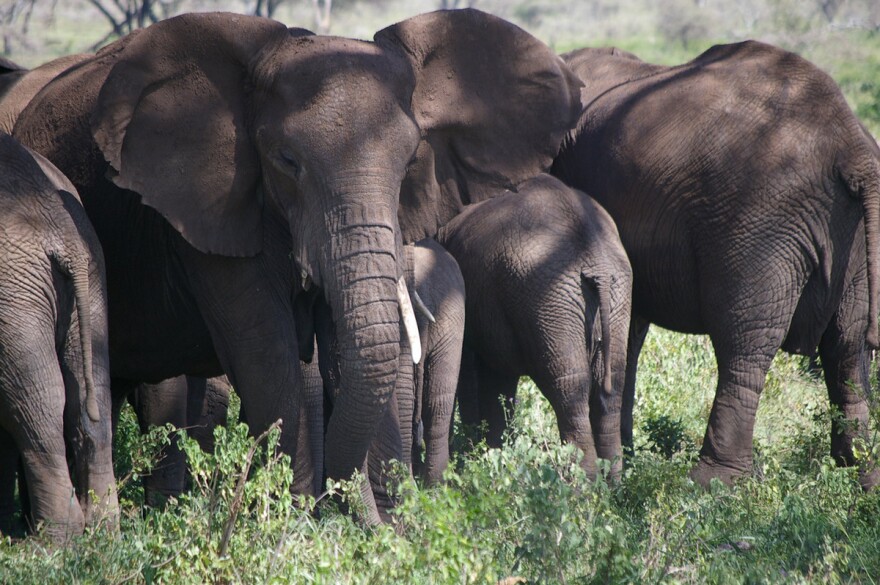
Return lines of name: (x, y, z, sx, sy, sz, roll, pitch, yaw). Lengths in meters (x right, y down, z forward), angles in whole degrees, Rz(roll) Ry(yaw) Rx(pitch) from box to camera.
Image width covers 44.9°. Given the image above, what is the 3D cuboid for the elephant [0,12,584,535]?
elephant: (-0.836, -0.164, 6.183, 2.299, 2.302, 3.063, -5, 3, -41)
